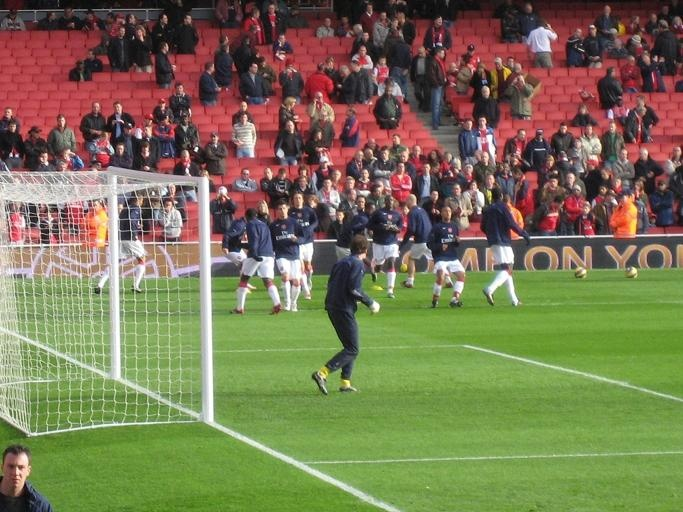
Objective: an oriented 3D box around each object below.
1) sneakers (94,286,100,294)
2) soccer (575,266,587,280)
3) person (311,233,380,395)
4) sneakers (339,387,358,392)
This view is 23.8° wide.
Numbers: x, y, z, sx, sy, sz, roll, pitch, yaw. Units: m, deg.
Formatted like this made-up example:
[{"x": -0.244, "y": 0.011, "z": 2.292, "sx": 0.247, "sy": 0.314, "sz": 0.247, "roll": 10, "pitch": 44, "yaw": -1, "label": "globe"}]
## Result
[{"x": -6.286, "y": 0.864, "z": 41.634, "sx": 0.209, "sy": 0.184, "sz": 0.165, "roll": -14, "pitch": -13, "yaw": 41, "label": "sneakers"}, {"x": 6.547, "y": 0.460, "z": 44.552, "sx": 0.254, "sy": 0.213, "sz": 0.222, "roll": -41, "pitch": 0, "yaw": -9, "label": "soccer"}, {"x": 0.072, "y": 1.161, "z": 32.753, "sx": 1.244, "sy": 3.180, "sz": 0.771, "roll": -3, "pitch": -2, "yaw": 0, "label": "person"}, {"x": 0.122, "y": 2.661, "z": 32.786, "sx": 0.325, "sy": 0.142, "sz": 0.118, "roll": -2, "pitch": 5, "yaw": -4, "label": "sneakers"}]
